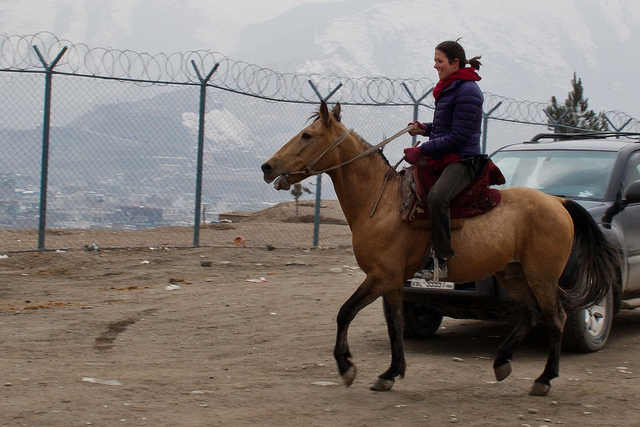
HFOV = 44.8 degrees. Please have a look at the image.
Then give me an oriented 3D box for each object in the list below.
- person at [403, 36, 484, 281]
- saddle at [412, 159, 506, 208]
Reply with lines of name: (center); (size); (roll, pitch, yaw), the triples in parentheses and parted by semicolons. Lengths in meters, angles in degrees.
person: (1.390, -0.584, 8.687); (0.923, 2.662, 1.074); (6, 12, 6)
saddle: (1.815, -0.452, 9.249); (0.928, 0.361, 1.189); (-2, 1, 35)
